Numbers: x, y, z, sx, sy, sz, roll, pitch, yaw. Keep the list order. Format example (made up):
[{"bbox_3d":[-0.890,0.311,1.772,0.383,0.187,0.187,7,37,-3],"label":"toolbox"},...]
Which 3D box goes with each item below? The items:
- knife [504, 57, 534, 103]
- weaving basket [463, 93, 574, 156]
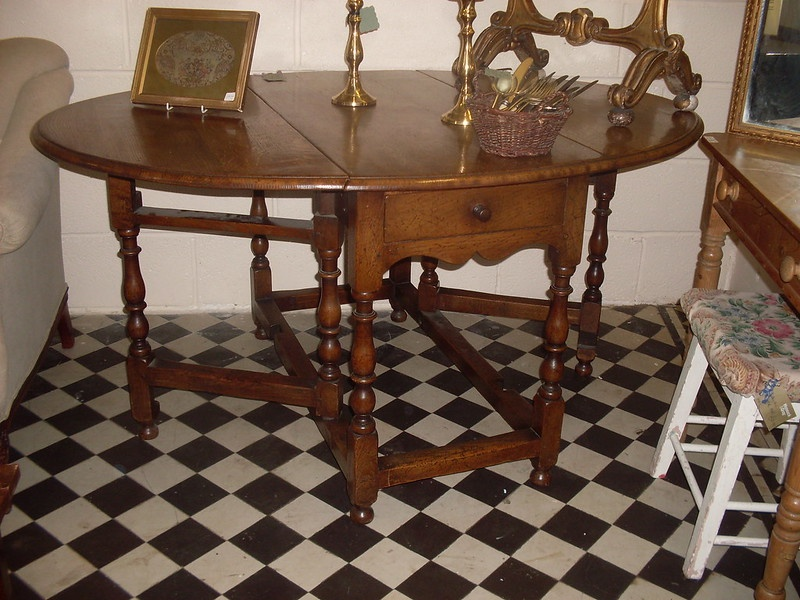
[{"bbox_3d":[0.357,-0.665,1.982,0.049,0.038,0.260,31,44,-8],"label":"knife"},{"bbox_3d":[0.335,-0.496,1.925,0.310,0.141,0.309,4,13,14],"label":"weaving basket"}]
